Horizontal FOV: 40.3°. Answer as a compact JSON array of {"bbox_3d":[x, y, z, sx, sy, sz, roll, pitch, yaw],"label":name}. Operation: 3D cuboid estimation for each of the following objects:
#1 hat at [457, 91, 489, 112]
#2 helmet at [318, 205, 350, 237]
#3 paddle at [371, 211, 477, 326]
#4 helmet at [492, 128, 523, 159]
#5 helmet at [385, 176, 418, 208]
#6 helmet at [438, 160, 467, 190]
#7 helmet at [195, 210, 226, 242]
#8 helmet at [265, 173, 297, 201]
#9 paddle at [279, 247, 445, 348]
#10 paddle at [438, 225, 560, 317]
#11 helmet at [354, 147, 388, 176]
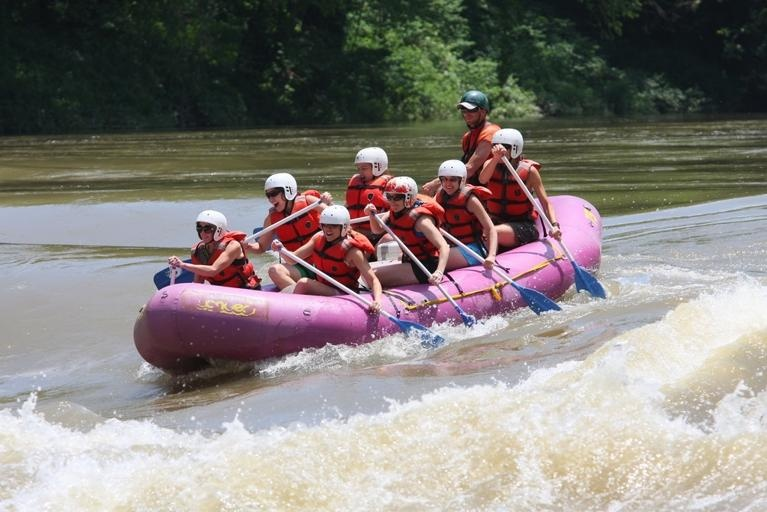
[{"bbox_3d":[1.474,-2.505,16.742,0.356,0.232,0.502,-3,-7,43],"label":"hat"},{"bbox_3d":[-0.700,-0.496,14.813,0.486,0.457,0.463,-1,18,-8],"label":"helmet"},{"bbox_3d":[0.583,0.225,15.219,0.178,0.393,2.193,-21,59,-38],"label":"paddle"},{"bbox_3d":[1.969,-1.809,16.408,0.558,0.381,0.397,-8,17,-13],"label":"helmet"},{"bbox_3d":[0.267,-0.978,15.309,0.521,0.382,0.398,-16,22,-38],"label":"helmet"},{"bbox_3d":[1.014,-1.258,15.813,0.379,0.452,0.399,0,47,9],"label":"helmet"},{"bbox_3d":[-2.444,-0.484,14.944,0.365,0.335,0.474,-4,-4,36],"label":"helmet"},{"bbox_3d":[-1.496,-1.070,15.588,0.505,0.353,0.356,-20,20,-15],"label":"helmet"},{"bbox_3d":[-0.343,0.630,14.793,2.588,0.172,0.285,27,25,-1],"label":"paddle"},{"bbox_3d":[1.737,0.343,16.217,0.186,0.309,2.754,-32,33,-20],"label":"paddle"},{"bbox_3d":[-0.167,-1.508,16.292,0.530,0.376,0.397,-20,18,-3],"label":"helmet"}]
